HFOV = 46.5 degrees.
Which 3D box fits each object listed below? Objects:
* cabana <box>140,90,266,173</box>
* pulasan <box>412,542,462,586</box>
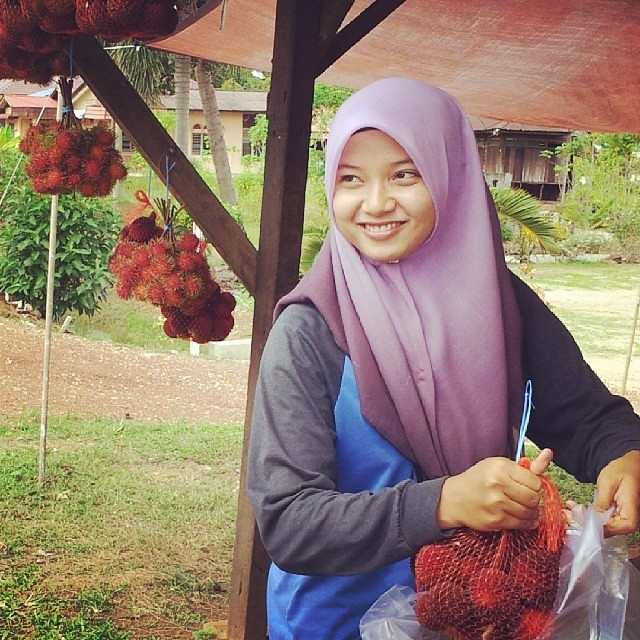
[{"bbox_3d":[-4.333,-6.382,25.464,2.075,1.841,3.376,2,13,25],"label":"cabana"},{"bbox_3d":[0.186,0.392,1.200,0.059,0.025,0.074,-34,7,38],"label":"pulasan"}]
